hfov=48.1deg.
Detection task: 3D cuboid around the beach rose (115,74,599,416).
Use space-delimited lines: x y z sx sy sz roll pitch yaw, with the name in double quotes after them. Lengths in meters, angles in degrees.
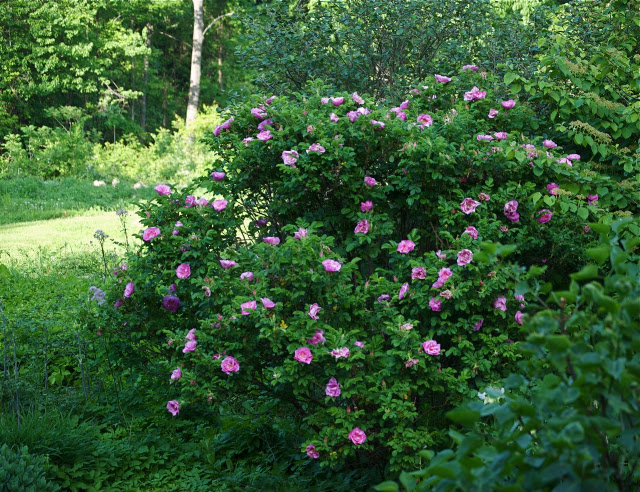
0.276 0.092 5.695 3.556 2.799 1.859 3 12 13 "beach rose"
